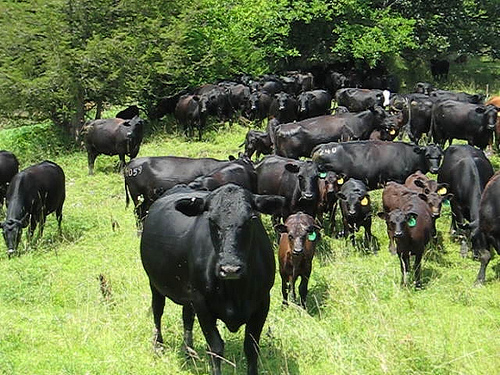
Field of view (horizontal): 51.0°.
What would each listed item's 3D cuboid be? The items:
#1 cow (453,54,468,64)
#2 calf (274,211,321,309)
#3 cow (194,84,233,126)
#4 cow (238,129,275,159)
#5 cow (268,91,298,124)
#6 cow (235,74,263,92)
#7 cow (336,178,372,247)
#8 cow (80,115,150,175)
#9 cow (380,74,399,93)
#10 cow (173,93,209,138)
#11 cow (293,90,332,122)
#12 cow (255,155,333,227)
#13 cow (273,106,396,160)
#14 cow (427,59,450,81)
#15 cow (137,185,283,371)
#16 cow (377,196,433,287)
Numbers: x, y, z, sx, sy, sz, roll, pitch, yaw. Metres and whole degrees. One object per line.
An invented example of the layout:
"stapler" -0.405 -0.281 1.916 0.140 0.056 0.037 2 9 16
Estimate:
"cow" 20.696 -12.526 51.177 0.729 1.181 2.152 -2 17 7
"calf" 0.957 1.545 10.785 0.765 1.785 2.979 2 1 4
"cow" -1.904 -4.087 24.135 0.939 1.578 2.805 -8 23 -18
"cow" 0.633 -1.337 18.365 1.971 1.155 0.962 8 4 40
"cow" 1.342 -2.990 22.078 0.883 1.412 2.503 -1 -5 1
"cow" -0.065 -5.328 26.529 0.853 1.198 2.232 -20 8 -1
"cow" 2.472 0.359 12.746 0.453 0.939 1.728 2 20 8
"cow" -4.929 -1.435 18.868 3.047 2.070 1.208 1 5 33
"cow" 8.097 -5.960 30.217 1.085 0.939 1.420 4 12 14
"cow" -2.458 -3.062 22.312 0.810 1.722 2.015 -6 14 -30
"cow" 2.524 -3.535 22.268 0.855 1.393 2.499 1 9 27
"cow" 0.920 0.163 13.253 1.058 1.872 3.291 0 7 -20
"cow" 2.680 -1.665 16.363 4.099 2.262 1.199 -11 20 -1
"cow" 14.728 -9.096 40.548 1.290 1.543 3.386 4 13 18
"cow" -0.626 1.262 7.865 2.017 2.673 1.086 11 15 41
"cow" 3.319 1.063 10.985 0.974 1.817 0.954 3 10 20
